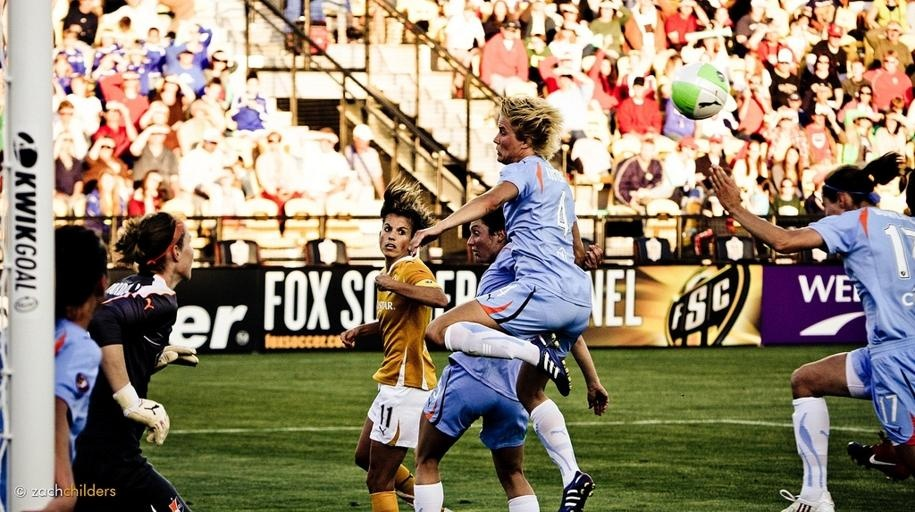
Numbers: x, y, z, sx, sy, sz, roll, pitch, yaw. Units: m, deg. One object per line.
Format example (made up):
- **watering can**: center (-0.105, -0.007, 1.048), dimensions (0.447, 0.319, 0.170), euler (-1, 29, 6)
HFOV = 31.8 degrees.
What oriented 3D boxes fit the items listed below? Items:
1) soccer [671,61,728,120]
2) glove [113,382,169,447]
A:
- **soccer**: center (3.470, -2.328, 23.536), dimensions (0.778, 0.836, 0.791), euler (13, -9, -19)
- **glove**: center (-4.137, 2.034, 21.230), dimensions (0.472, 0.996, 0.752), euler (2, 1, -14)
